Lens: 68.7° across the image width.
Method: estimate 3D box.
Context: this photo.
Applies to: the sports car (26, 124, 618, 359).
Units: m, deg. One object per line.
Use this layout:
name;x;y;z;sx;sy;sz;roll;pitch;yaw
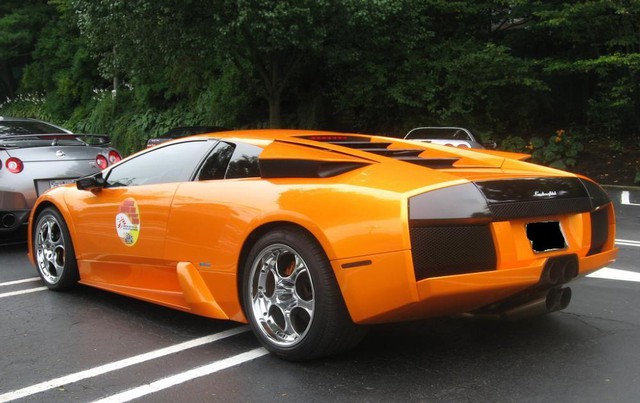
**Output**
sports car;-0.173;0.239;4.682;5.241;1.890;1.764;5;13;28
